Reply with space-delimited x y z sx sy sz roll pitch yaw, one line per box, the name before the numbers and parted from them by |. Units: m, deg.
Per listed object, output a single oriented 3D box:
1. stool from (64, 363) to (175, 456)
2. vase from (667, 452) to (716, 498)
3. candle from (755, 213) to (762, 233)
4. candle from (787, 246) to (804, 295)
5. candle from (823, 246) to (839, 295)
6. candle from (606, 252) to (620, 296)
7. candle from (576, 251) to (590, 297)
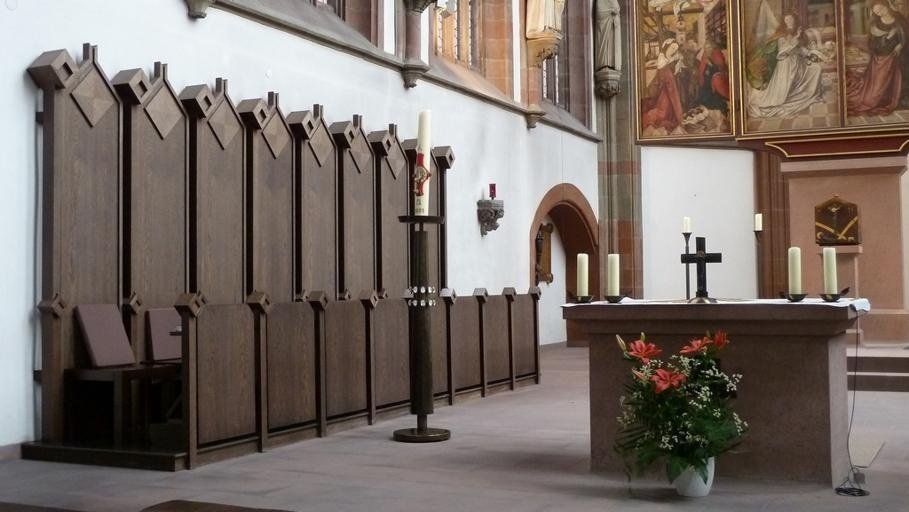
stool | -3.877 1.745 10.247 0.945 0.912 0.972 -1 -1 32
vase | 2.380 2.159 8.625 0.367 0.302 0.422 1 1 2
candle | 3.926 -0.429 11.228 0.041 0.217 0.182 4 8 33
candle | 3.491 0.148 8.920 0.118 0.469 0.125 1 7 13
candle | 3.886 0.158 8.990 0.133 0.489 0.119 -4 -7 41
candle | 1.670 0.194 9.169 0.108 0.435 0.203 -1 7 -1
candle | 1.358 0.208 9.181 0.106 0.444 0.142 -1 7 -2
